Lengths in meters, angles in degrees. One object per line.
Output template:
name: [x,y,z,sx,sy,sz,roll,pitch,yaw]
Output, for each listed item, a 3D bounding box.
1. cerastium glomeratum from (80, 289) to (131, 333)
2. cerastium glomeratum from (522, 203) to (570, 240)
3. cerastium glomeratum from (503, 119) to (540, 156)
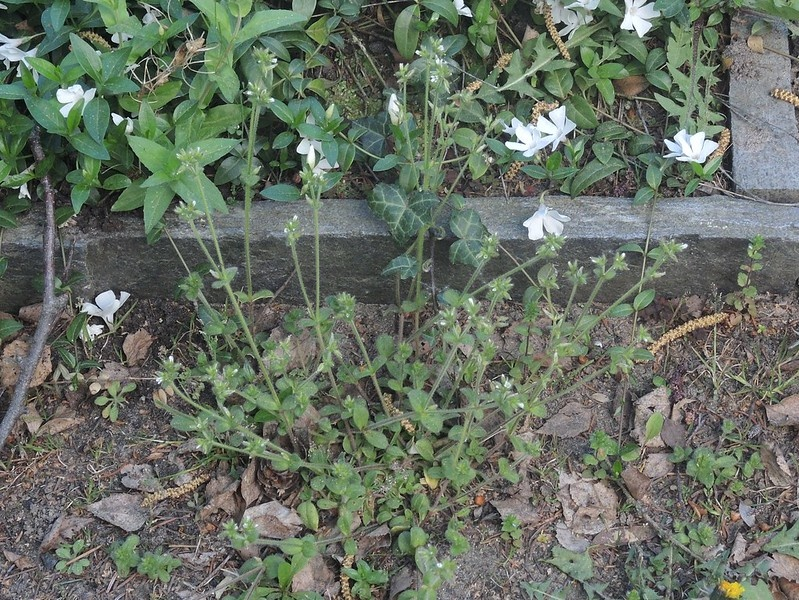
cerastium glomeratum: [-1.552,0.035,3.785,0.198,0.163,0.210,2,44,6]
cerastium glomeratum: [0.749,-0.373,3.596,0.198,0.212,0.096,-25,18,-3]
cerastium glomeratum: [0.596,-0.767,3.416,0.147,0.133,0.220,5,48,11]
